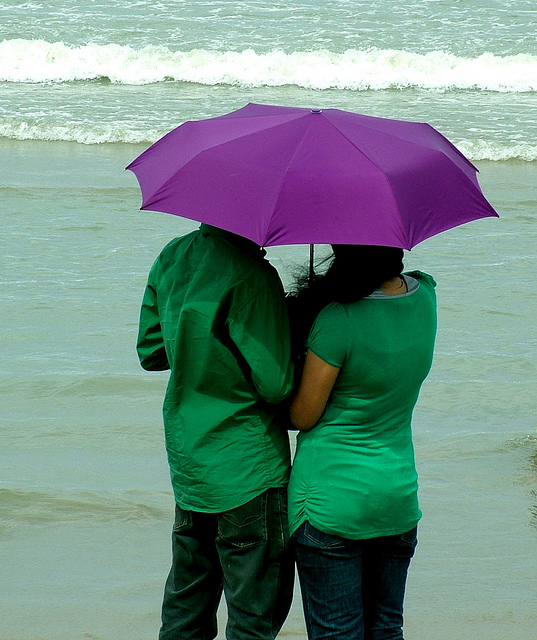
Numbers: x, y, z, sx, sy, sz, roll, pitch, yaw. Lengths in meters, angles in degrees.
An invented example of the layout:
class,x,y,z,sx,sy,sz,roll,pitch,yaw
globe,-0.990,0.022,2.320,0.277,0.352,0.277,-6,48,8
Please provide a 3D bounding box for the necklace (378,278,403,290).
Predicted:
class,x,y,z,sx,sy,sz,roll,pitch,yaw
necklace,0.418,-0.124,4.049,0.078,0.014,0.041,-10,-11,-34
